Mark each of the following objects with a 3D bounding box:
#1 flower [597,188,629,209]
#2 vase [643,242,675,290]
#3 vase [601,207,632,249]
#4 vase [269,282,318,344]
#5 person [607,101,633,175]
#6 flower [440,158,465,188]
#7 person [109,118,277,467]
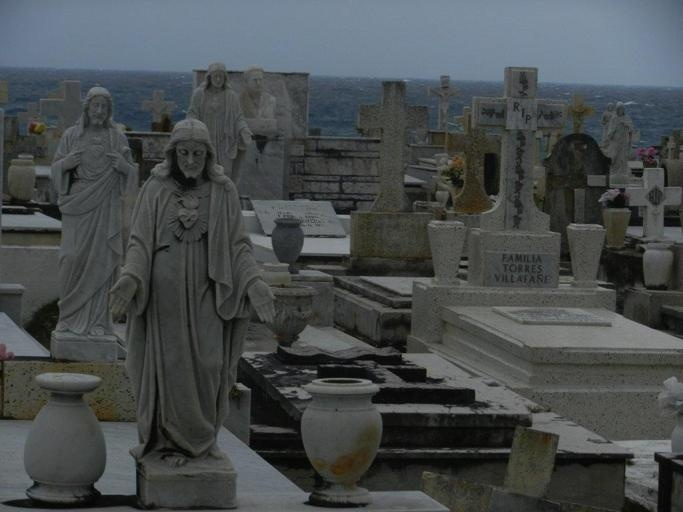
[{"bbox_3d":[3.866,-0.831,20.488,0.342,0.172,0.344,0,4,2],"label":"flower"},{"bbox_3d":[3.935,0.098,17.989,0.493,0.747,0.505,-1,6,6],"label":"vase"},{"bbox_3d":[3.894,-0.425,20.528,0.348,0.549,0.391,2,8,7],"label":"vase"},{"bbox_3d":[-0.510,0.592,15.505,0.567,0.524,0.576,0,1,0],"label":"vase"},{"bbox_3d":[6.078,-2.571,31.663,0.545,1.540,1.042,3,8,10],"label":"person"},{"bbox_3d":[2.156,-1.557,27.683,0.579,0.542,0.481,1,30,-1],"label":"flower"},{"bbox_3d":[-1.115,0.223,10.543,1.059,2.388,0.490,0,8,-9],"label":"person"}]
